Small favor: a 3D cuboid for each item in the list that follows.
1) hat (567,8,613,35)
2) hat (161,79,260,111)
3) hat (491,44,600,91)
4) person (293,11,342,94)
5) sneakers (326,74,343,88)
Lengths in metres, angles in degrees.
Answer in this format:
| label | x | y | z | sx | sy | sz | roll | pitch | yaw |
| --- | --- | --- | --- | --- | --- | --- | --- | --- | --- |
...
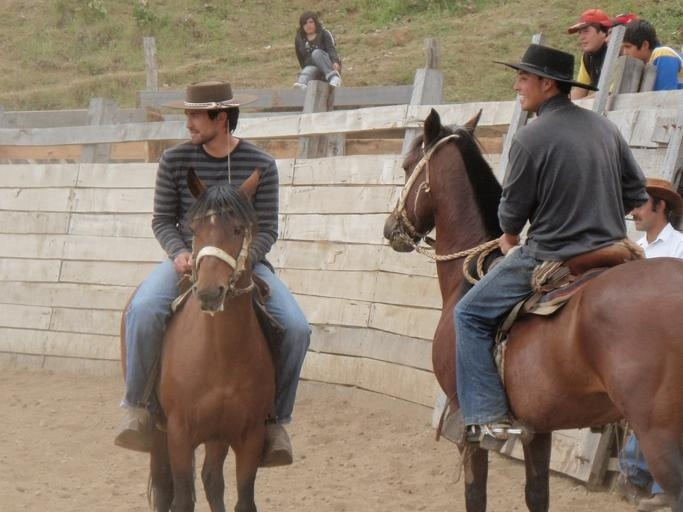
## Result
| label | x | y | z | sx | sy | sz | roll | pitch | yaw |
| --- | --- | --- | --- | --- | --- | --- | --- | --- | --- |
| hat | 3.663 | -3.496 | 20.393 | 0.591 | 0.313 | 0.380 | 5 | 5 | 0 |
| hat | -1.745 | -2.143 | 18.404 | 1.042 | 0.376 | 0.633 | 0 | 8 | -10 |
| hat | 2.615 | -2.433 | 17.487 | 0.786 | 0.235 | 0.781 | 22 | 5 | -11 |
| person | -0.452 | -3.791 | 25.001 | 0.791 | 1.298 | 1.019 | 1 | 8 | -5 |
| sneakers | -0.125 | -3.127 | 24.502 | 0.188 | 0.220 | 0.553 | -1 | -4 | -5 |
